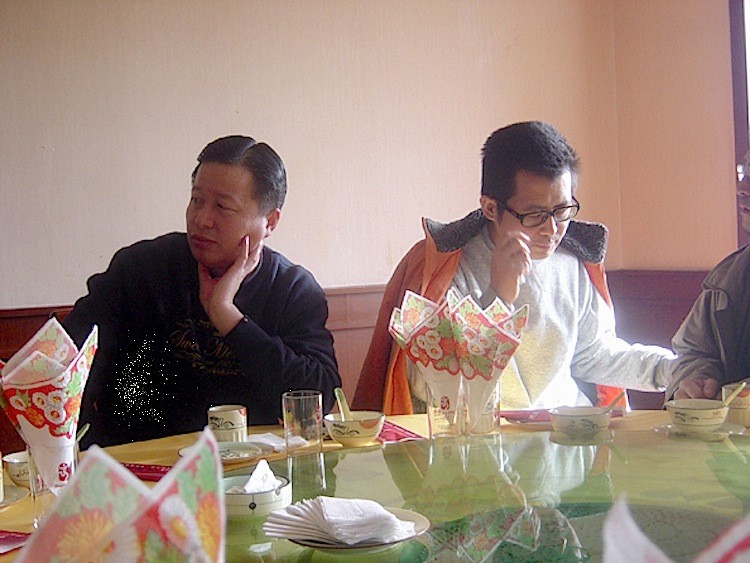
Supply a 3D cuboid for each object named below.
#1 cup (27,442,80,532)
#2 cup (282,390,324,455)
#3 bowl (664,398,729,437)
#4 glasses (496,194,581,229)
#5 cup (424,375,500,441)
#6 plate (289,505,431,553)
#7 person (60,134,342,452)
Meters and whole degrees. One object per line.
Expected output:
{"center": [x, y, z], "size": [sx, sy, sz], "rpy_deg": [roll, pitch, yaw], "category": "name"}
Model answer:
{"center": [-0.614, 0.377, 1.171], "size": [0.084, 0.139, 0.109], "rpy_deg": [-4, 4, -30], "category": "cup"}
{"center": [-0.189, 0.355, 1.611], "size": [0.122, 0.213, 0.130], "rpy_deg": [-3, 1, 0], "category": "cup"}
{"center": [0.855, 0.361, 1.615], "size": [0.144, 0.071, 0.151], "rpy_deg": [-2, -5, 0], "category": "bowl"}
{"center": [0.700, -0.281, 2.610], "size": [0.292, 0.099, 0.066], "rpy_deg": [-2, 3, -4], "category": "glasses"}
{"center": [0.228, 0.309, 1.558], "size": [0.153, 0.158, 0.154], "rpy_deg": [0, -7, 0], "category": "cup"}
{"center": [-0.013, 0.433, 1.038], "size": [0.247, 0.029, 0.117], "rpy_deg": [-4, 4, -28], "category": "plate"}
{"center": [-0.690, 0.008, 2.496], "size": [1.055, 1.222, 0.258], "rpy_deg": [-3, 4, -14], "category": "person"}
